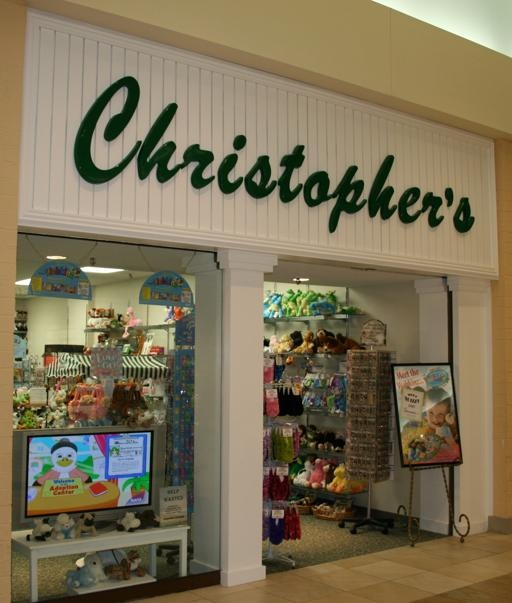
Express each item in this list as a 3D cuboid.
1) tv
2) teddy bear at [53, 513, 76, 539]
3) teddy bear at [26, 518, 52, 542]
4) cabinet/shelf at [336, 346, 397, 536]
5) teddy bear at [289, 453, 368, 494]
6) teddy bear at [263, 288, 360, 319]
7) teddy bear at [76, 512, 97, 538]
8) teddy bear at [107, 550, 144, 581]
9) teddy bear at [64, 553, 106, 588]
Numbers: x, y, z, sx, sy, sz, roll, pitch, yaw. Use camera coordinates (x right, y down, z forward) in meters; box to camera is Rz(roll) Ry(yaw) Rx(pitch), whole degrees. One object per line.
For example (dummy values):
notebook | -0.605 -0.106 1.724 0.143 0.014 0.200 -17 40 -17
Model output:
tv | -1.069 1.096 3.412 0.927 0.487 0.092 1 -5 -32
teddy bear | -1.148 1.344 3.312 0.142 0.163 0.131 6 -19 -38
teddy bear | -1.261 1.346 3.226 0.126 0.110 0.099 -3 -8 8
cabinet/shelf | 1.134 1.418 5.612 0.556 1.787 0.503 -4 -13 30
teddy bear | 0.798 2.070 6.462 0.740 0.221 0.502 3 -2 9
teddy bear | 0.865 0.047 7.704 0.322 0.357 1.866 4 0 -41
teddy bear | -1.037 1.372 3.367 0.110 0.129 0.136 13 -39 -39
teddy bear | -0.837 1.702 3.534 0.262 0.123 0.119 -20 -28 39
teddy bear | -1.066 1.659 3.416 0.190 0.134 0.182 -4 -6 2
